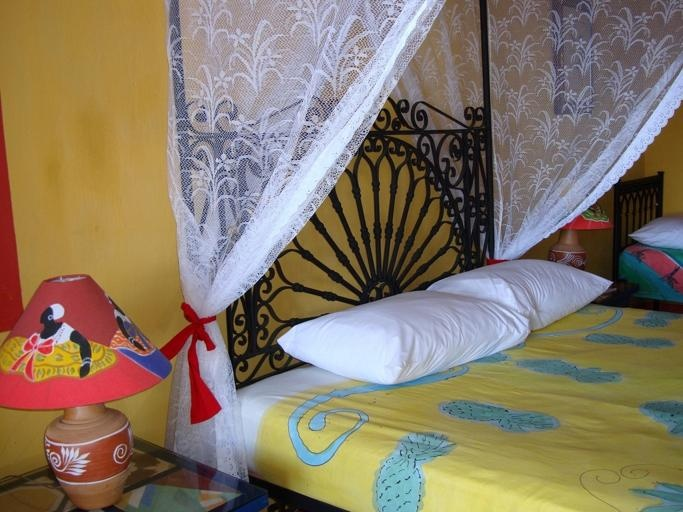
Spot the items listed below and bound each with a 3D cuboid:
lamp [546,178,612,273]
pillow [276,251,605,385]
[{"bbox_3d":[1.459,-0.141,3.504,0.384,0.448,0.379,7,10,-3],"label":"lamp"},{"bbox_3d":[0.482,0.245,2.341,1.458,0.269,0.447,-11,15,-35],"label":"pillow"}]
